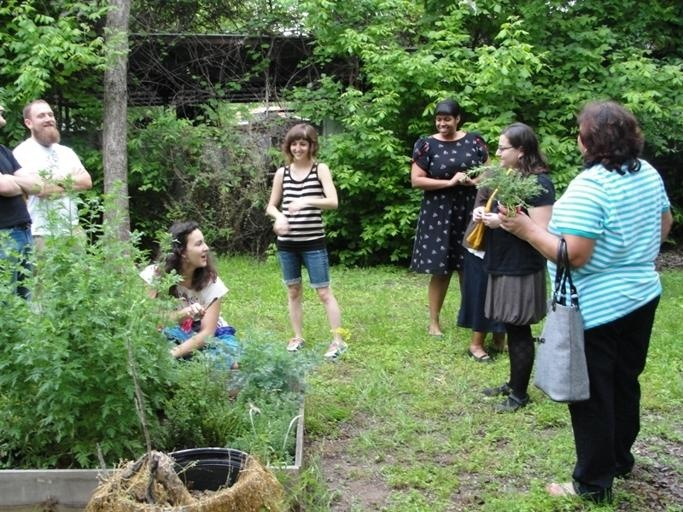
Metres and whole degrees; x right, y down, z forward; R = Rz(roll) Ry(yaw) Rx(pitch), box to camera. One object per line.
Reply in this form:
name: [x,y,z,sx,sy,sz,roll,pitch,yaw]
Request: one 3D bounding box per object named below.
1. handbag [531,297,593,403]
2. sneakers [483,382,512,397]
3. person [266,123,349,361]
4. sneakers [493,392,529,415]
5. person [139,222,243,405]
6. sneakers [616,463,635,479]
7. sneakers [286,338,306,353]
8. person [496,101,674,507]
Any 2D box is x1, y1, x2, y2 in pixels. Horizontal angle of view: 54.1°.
handbag: [1.296,0.568,3.933,0.314,0.585,0.220,0,6,19]
sneakers: [1.238,1.062,5.349,0.253,0.104,0.087,2,3,14]
person: [-0.324,-0.140,6.070,0.687,2.094,0.484,-1,5,4]
sneakers: [1.298,1.117,5.105,0.226,0.096,0.125,-8,9,-2]
person: [-1.071,0.344,4.851,0.625,1.176,1.118,-2,5,-10]
sneakers: [1.821,1.391,4.283,0.086,0.111,0.046,35,-5,-40]
sneakers: [-0.403,0.800,6.013,0.100,0.113,0.290,-16,-9,1]
person: [1.594,0.277,4.041,0.655,2.399,0.281,-3,6,-15]
